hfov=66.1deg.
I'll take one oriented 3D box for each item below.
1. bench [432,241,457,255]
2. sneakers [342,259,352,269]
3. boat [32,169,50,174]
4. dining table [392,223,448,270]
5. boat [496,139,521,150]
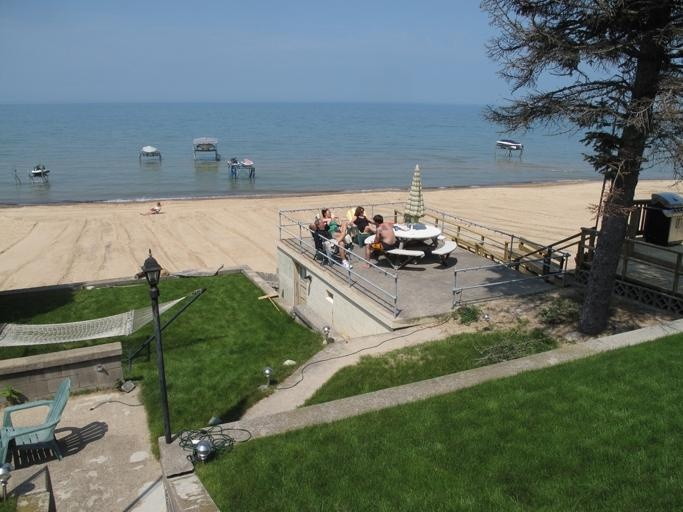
[{"bbox_3d":[3.310,-0.225,16.799,0.591,0.353,1.013,6,17,23],"label":"bench"},{"bbox_3d":[0.151,0.262,15.990,0.162,0.156,0.382,-14,21,-22],"label":"sneakers"},{"bbox_3d":[-30.779,-8.657,53.520,1.886,0.547,1.107,14,19,41],"label":"boat"},{"bbox_3d":[2.595,-0.406,17.254,1.731,0.475,1.771,-11,29,-17],"label":"dining table"},{"bbox_3d":[27.017,-17.819,84.168,2.938,1.192,4.007,6,12,39],"label":"boat"}]
